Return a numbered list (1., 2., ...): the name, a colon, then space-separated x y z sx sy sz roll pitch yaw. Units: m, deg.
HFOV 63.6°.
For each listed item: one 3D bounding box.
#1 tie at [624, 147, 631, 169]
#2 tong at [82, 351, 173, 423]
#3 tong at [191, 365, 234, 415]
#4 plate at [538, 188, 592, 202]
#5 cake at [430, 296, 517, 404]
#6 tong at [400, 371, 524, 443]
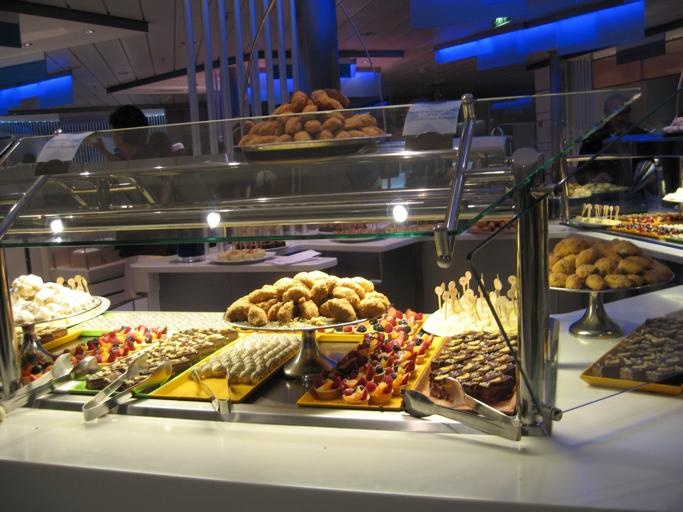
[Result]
1. tie: 0.804 -0.274 1.545 0.014 0.038 0.058 -3 -26 24
2. tong: -0.582 0.351 1.500 0.094 0.078 0.236 30 45 24
3. tong: -0.337 0.352 1.437 0.134 0.023 0.027 36 2 28
4. plate: 0.539 -0.149 1.333 0.079 0.019 0.077 -10 5 -30
5. cake: 0.348 0.233 1.433 0.209 0.075 0.269 -4 13 21
6. tong: 0.267 0.328 1.261 0.103 0.069 0.298 22 -10 -40
